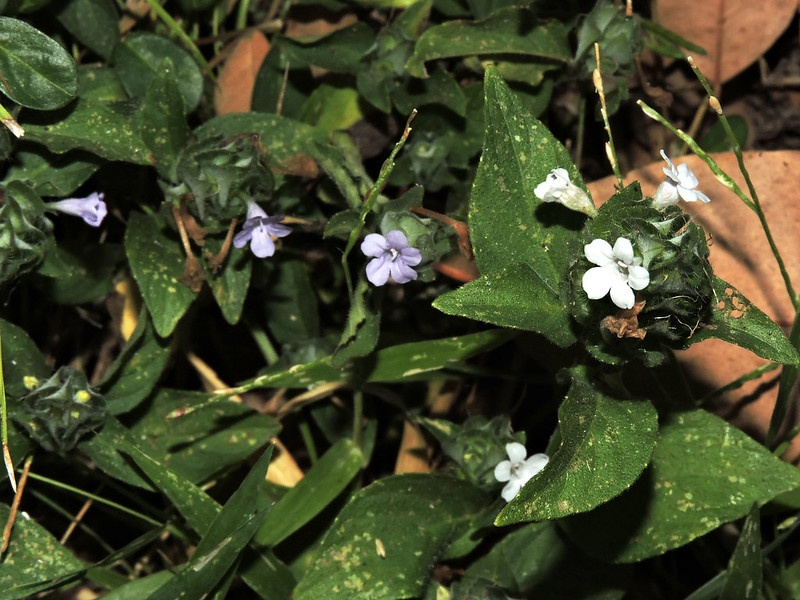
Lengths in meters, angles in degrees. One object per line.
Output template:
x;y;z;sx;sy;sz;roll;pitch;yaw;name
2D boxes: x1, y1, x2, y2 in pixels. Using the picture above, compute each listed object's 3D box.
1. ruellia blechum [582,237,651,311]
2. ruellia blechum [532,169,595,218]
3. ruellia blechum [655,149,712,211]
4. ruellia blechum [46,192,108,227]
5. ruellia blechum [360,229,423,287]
0.436;-0.052;1.713;0.134;0.166;0.108;7;30;23;ruellia blechum
0.362;-0.233;1.847;0.129;0.056;0.090;36;67;5;ruellia blechum
0.609;-0.262;1.843;0.108;0.115;0.158;2;30;14;ruellia blechum
-0.770;-0.209;2.018;0.113;0.072;0.068;7;-1;-10;ruellia blechum
-0.012;-0.098;1.884;0.123;0.134;0.114;11;33;29;ruellia blechum
